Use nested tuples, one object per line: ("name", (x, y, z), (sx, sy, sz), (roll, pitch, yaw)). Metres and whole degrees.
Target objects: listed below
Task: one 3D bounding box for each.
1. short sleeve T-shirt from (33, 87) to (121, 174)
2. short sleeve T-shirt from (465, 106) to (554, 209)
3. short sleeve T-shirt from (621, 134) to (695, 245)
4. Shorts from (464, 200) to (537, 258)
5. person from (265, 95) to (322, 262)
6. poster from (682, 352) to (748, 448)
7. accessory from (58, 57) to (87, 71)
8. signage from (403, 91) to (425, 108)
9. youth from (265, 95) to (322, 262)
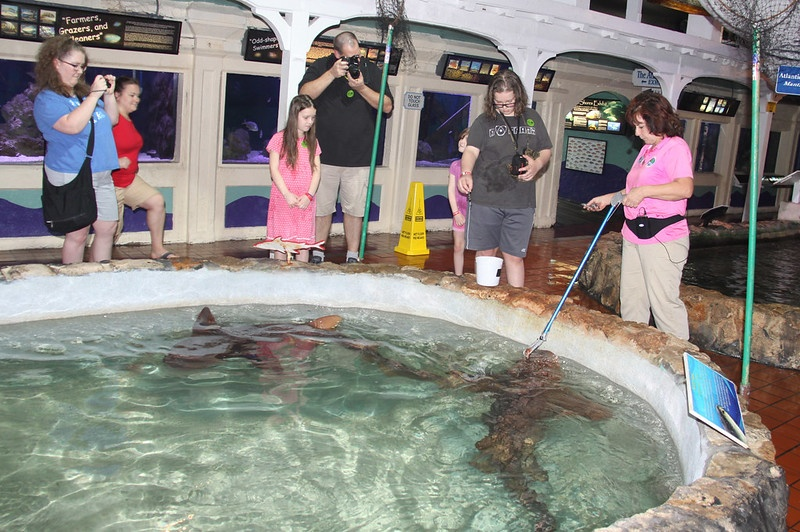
("short sleeve T-shirt", (-3.330, -1.336, 5.417), (0.413, 0.785, 0.613), (8, 10, 25))
("short sleeve T-shirt", (1.136, -1.149, 5.686), (0.837, 1.066, 0.389), (4, 10, 4))
("short sleeve T-shirt", (2.361, -0.688, 4.898), (0.575, 0.983, 0.465), (9, 11, 33))
("Shorts", (1.082, -0.417, 6.047), (1.066, 0.750, 0.556), (4, 10, 5))
("person", (-1.237, -1.105, 6.092), (0.586, 1.657, 0.415), (1, 10, -12))
("poster", (1.994, 0.867, 3.359), (0.681, 0.458, 0.047), (20, -45, -38))
("accessory", (-3.190, -1.942, 5.087), (0.153, 0.041, 0.150), (22, 17, 25))
("signage", (0.219, -3.223, 10.273), (0.431, 0.277, 0.053), (-5, 5, -27))
("youth", (-1.237, -1.105, 6.092), (0.586, 1.657, 0.415), (1, 10, -12))
